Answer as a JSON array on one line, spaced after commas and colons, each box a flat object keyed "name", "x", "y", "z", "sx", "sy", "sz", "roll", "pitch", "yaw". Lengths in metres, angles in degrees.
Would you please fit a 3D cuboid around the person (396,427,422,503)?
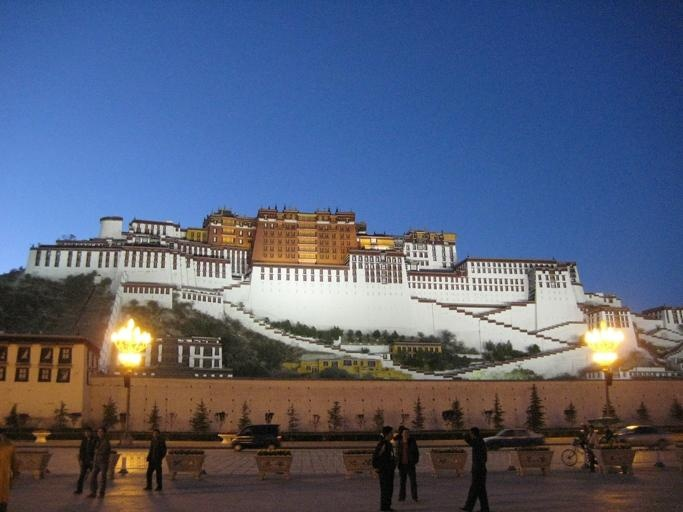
[{"name": "person", "x": 1.840, "y": 5.672, "z": 17.005, "sx": 0.592, "sy": 1.904, "sz": 0.916, "roll": -1, "pitch": -11, "yaw": 6}]

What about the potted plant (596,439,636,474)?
[{"name": "potted plant", "x": 9.524, "y": 6.970, "z": 21.350, "sx": 1.117, "sy": 0.947, "sz": 0.959, "roll": -1, "pitch": -14, "yaw": 3}]

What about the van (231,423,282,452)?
[{"name": "van", "x": -4.431, "y": 9.610, "z": 32.726, "sx": 2.225, "sy": 1.250, "sz": 1.283, "roll": 4, "pitch": -23, "yaw": 1}]
